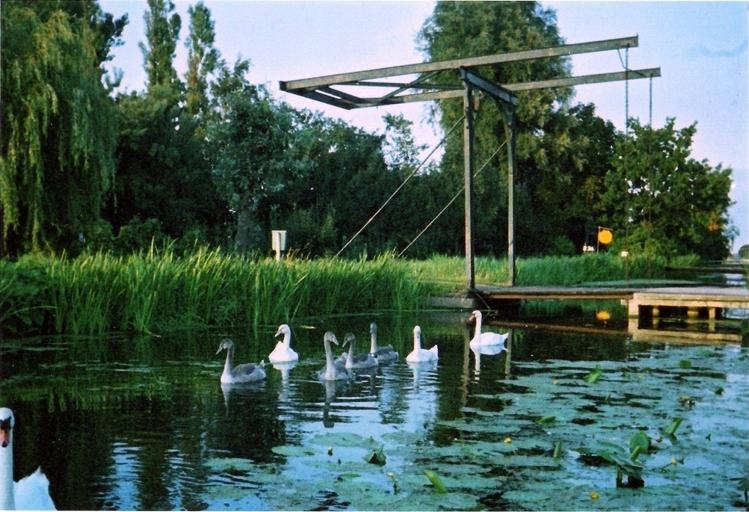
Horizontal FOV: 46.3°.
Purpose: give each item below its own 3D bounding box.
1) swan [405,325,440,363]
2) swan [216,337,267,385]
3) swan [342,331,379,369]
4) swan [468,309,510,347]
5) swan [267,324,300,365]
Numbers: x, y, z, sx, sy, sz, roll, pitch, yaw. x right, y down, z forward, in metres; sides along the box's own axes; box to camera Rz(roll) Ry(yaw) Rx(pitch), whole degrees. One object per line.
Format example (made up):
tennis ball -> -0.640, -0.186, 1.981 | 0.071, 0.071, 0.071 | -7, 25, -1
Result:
swan -> 0.930, 1.654, 16.322 | 0.409, 0.677, 0.812 | -4, -4, 40
swan -> -2.207, 1.781, 14.737 | 0.781, 0.742, 0.480 | -1, -3, -14
swan -> -0.350, 1.848, 15.939 | 0.356, 0.691, 0.964 | -5, -11, 36
swan -> 2.326, 1.510, 18.122 | 0.706, 0.757, 1.355 | -2, -3, 6
swan -> -1.686, 1.645, 16.171 | 0.557, 0.711, 0.622 | -1, -3, -7
